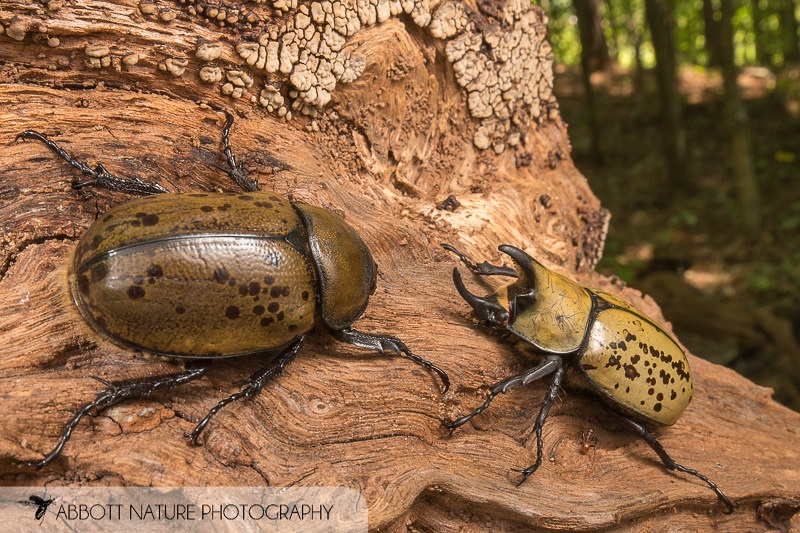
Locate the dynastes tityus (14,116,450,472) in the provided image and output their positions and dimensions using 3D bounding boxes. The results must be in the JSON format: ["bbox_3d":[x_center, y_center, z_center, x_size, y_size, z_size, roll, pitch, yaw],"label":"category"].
[{"bbox_3d":[-1.093,0.049,4.923,2.149,1.708,0.618,3,-15,-31],"label":"dynastes tityus"}]
